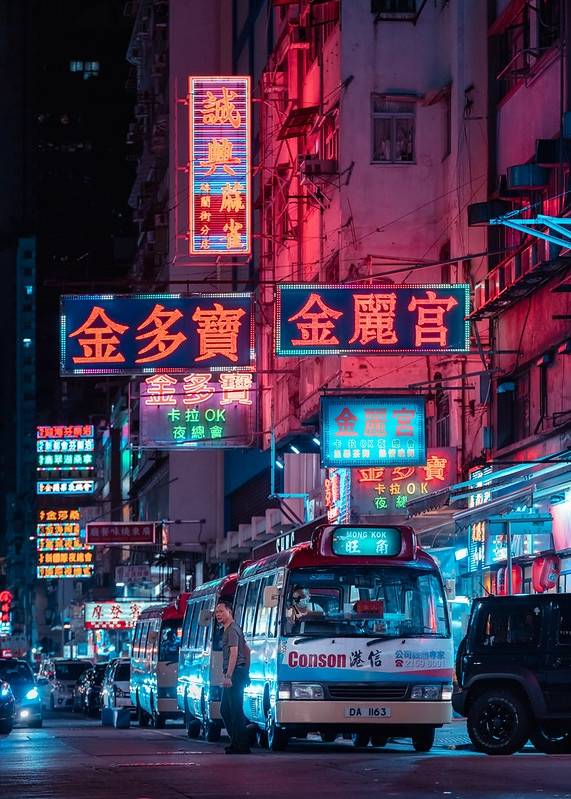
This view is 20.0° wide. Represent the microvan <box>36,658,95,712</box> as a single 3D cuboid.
[{"bbox_3d":[-7.236,9.120,53.104,2.017,2.271,4.183,1,-11,-11],"label":"microvan"}]

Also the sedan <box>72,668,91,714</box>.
[{"bbox_3d":[-6.172,8.777,48.946,0.713,0.780,1.341,1,-11,-7],"label":"sedan"}]

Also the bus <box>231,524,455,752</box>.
[{"bbox_3d":[0.740,2.808,19.033,2.333,2.608,2.313,-1,-9,1],"label":"bus"}]

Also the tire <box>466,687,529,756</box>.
[{"bbox_3d":[2.326,3.502,17.698,0.531,0.715,0.237,-13,-10,26],"label":"tire"}]

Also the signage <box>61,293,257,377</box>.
[{"bbox_3d":[-2.440,-1.286,30.676,3.701,1.821,0.704,3,-9,-17],"label":"signage"}]

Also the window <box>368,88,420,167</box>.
[{"bbox_3d":[2.258,-5.775,34.485,1.299,2.201,0.106,1,-3,-16],"label":"window"}]

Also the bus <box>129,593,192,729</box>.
[{"bbox_3d":[-2.619,5.229,32.450,1.106,2.317,3.543,1,-6,-6],"label":"bus"}]

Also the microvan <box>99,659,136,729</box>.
[{"bbox_3d":[-3.904,6.816,37.814,0.767,1.037,1.794,1,-12,-9],"label":"microvan"}]

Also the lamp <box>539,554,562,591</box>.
[{"bbox_3d":[4.037,2.640,24.734,0.239,0.523,0.515,-7,-12,38],"label":"lamp"}]

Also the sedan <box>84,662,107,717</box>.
[{"bbox_3d":[-5.531,8.369,46.924,0.988,1.261,2.208,1,-14,-7],"label":"sedan"}]

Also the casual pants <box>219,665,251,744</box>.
[{"bbox_3d":[-0.564,3.425,17.955,0.305,0.906,0.607,0,-9,-2],"label":"casual pants"}]
